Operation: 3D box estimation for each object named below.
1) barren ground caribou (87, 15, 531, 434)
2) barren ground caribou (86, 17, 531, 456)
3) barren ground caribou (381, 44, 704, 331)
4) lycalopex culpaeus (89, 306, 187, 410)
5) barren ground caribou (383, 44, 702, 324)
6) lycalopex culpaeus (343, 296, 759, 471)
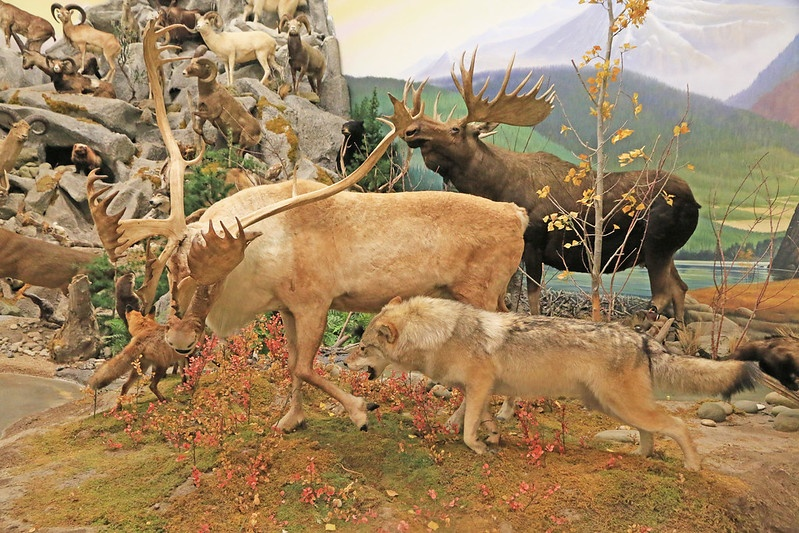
[{"bbox_3d":[-1.125,-0.481,11.233,6.632,6.883,4.546,-4,11,-16],"label":"barren ground caribou"},{"bbox_3d":[0.084,-0.019,12.449,7.723,7.343,4.556,-3,-7,43],"label":"barren ground caribou"},{"bbox_3d":[3.093,-1.461,15.381,6.763,6.211,3.197,3,3,5],"label":"barren ground caribou"},{"bbox_3d":[-4.137,1.585,12.428,1.148,2.051,1.939,3,-15,7],"label":"lycalopex culpaeus"},{"bbox_3d":[3.257,-0.975,17.942,10.872,5.983,3.809,2,-3,3],"label":"barren ground caribou"},{"bbox_3d":[2.246,1.721,10.988,5.803,2.384,1.214,3,21,7],"label":"lycalopex culpaeus"}]
